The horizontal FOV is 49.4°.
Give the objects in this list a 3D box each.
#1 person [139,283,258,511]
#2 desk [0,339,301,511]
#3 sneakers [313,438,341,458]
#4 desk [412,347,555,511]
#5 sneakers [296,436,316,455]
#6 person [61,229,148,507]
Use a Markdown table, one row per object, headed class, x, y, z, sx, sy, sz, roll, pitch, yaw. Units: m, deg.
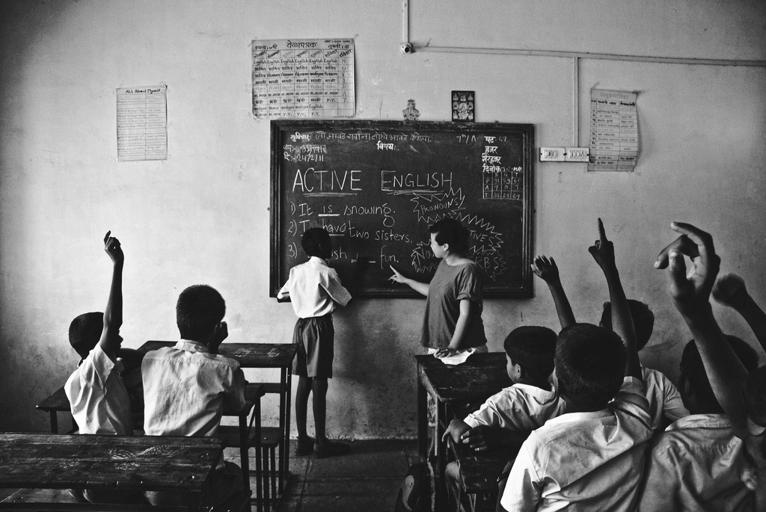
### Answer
| class | x | y | z | sx | sy | sz | roll | pitch | yaw |
| --- | --- | --- | --- | --- | --- | --- | --- | --- | --- |
| person | -1.028 | 0.812 | 4.619 | 0.587 | 1.291 | 0.376 | 0 | 4 | -17 |
| desk | -1.234 | 1.018 | 5.244 | 1.240 | 0.815 | 1.214 | 1 | 0 | 5 |
| sneakers | -0.383 | 1.329 | 5.778 | 0.090 | 0.095 | 0.218 | 1 | -1 | 30 |
| desk | 0.556 | 0.890 | 4.906 | 0.688 | 0.920 | 0.957 | 0 | -3 | -3 |
| sneakers | -0.538 | 1.318 | 5.757 | 0.142 | 0.141 | 0.091 | 7 | -10 | -18 |
| person | -1.543 | 0.611 | 4.627 | 0.393 | 1.469 | 0.764 | 0 | 4 | -21 |
